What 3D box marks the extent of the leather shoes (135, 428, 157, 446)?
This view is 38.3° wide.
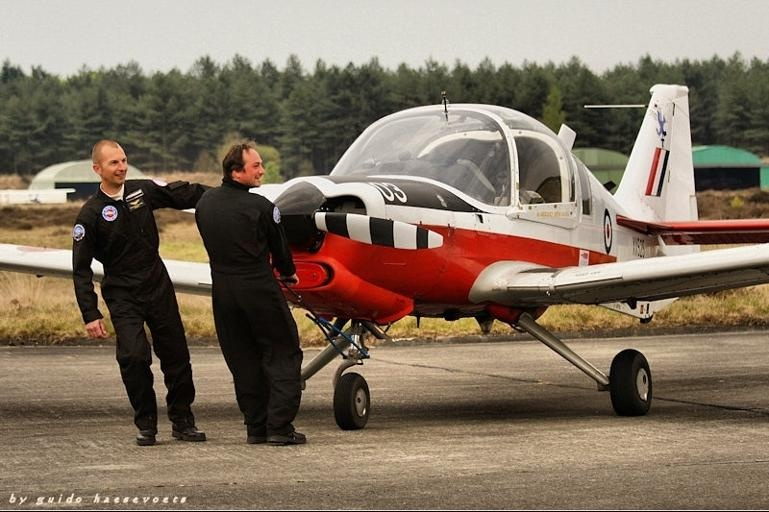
[{"bbox_3d":[-2.260,1.699,10.510,0.229,0.115,0.124,3,-1,19],"label":"leather shoes"}]

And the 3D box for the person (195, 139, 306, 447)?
[{"bbox_3d":[-1.269,0.363,10.429,0.895,2.826,0.375,-5,-3,-5],"label":"person"}]

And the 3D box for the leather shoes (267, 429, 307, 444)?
[{"bbox_3d":[-0.916,1.708,10.515,0.393,0.139,0.128,-2,3,-27],"label":"leather shoes"}]

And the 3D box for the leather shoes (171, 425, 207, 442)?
[{"bbox_3d":[-1.869,1.701,10.706,0.369,0.114,0.127,-2,-3,30],"label":"leather shoes"}]

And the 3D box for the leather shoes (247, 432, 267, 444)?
[{"bbox_3d":[-1.218,1.707,10.486,0.243,0.080,0.076,-1,4,1],"label":"leather shoes"}]
